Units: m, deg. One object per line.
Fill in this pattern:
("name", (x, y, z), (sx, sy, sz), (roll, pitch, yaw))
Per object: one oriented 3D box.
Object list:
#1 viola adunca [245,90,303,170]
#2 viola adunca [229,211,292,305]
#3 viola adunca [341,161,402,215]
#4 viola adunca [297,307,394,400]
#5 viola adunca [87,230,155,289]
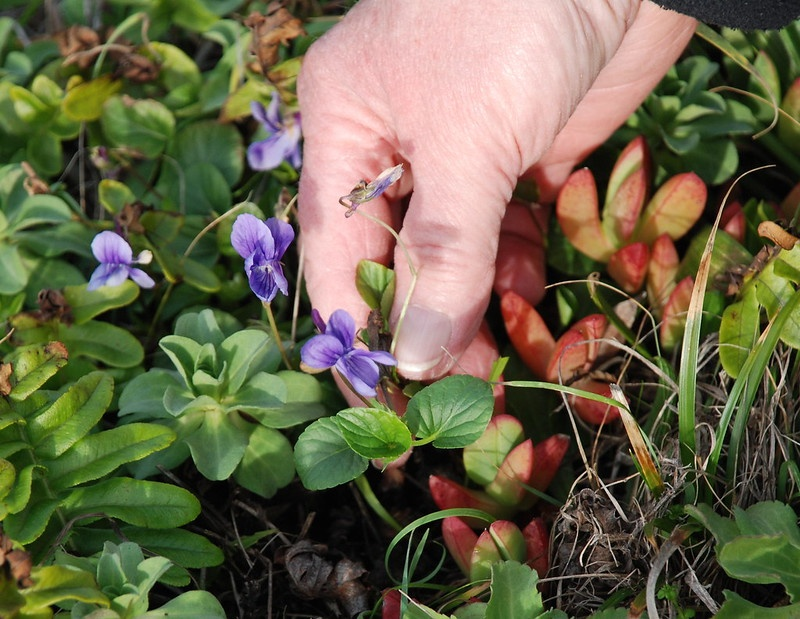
("viola adunca", (-0.341, -0.470, 2.087), (0.177, 0.207, 0.073), (41, 12, 35))
("viola adunca", (-0.281, -0.135, 1.631), (0.143, 0.076, 0.182), (-26, 17, 40))
("viola adunca", (-0.077, -0.300, 1.864), (0.066, 0.206, 0.070), (49, 44, 2))
("viola adunca", (-0.110, 0.111, 1.629), (0.196, 0.242, 0.212), (0, 38, -2))
("viola adunca", (-0.652, -0.120, 1.774), (0.166, 0.059, 0.181), (2, 10, -27))
